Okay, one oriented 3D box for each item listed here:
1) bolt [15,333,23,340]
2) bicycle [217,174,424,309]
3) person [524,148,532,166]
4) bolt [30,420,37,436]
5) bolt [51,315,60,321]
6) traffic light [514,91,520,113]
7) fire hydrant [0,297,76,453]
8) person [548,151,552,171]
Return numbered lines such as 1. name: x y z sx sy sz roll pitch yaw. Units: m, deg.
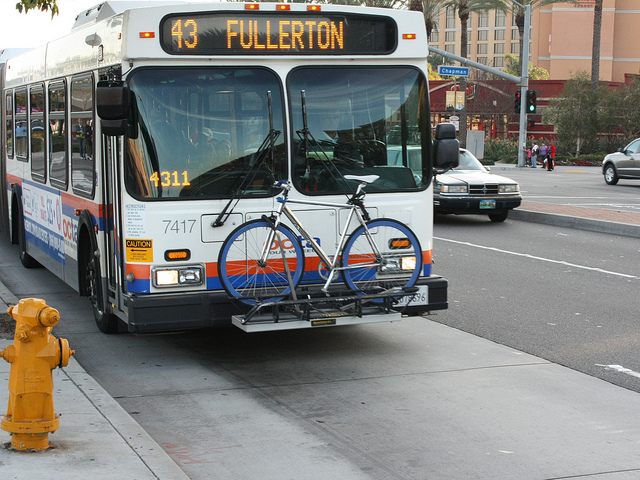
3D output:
1. bolt: -2.088 0.668 5.017 0.049 0.047 0.015 12 6 19
2. bicycle: 0.026 0.068 7.312 2.103 1.210 0.500 -1 -5 15
3. person: 14.759 -5.772 50.861 0.379 1.037 1.678 2 8 13
4. bolt: -1.959 1.290 4.947 0.044 0.098 0.044 -3 8 -22
5. bolt: -1.814 0.542 4.984 0.044 0.042 0.010 10 1 -8
6. traffic light: 11.234 -7.817 40.904 0.203 1.103 0.964 3 8 17
7. fire hydrant: -2.025 0.931 5.040 0.488 1.014 0.394 1 7 2
8. person: 14.222 -4.886 44.517 0.269 1.165 0.739 3 8 18
